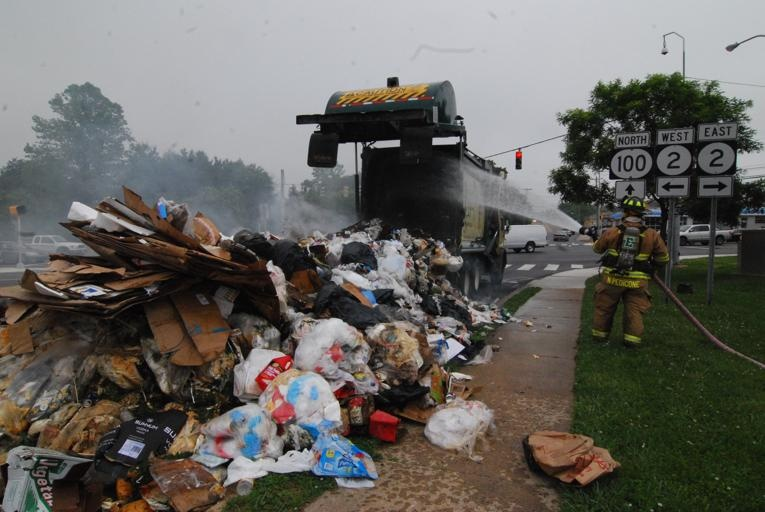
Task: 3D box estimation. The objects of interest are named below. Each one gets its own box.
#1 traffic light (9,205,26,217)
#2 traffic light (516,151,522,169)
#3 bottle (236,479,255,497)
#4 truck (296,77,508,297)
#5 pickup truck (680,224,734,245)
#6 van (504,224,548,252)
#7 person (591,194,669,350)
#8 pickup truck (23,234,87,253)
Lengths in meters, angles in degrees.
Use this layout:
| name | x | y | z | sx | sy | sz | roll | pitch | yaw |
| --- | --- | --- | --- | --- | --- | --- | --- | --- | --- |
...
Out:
| name | x | y | z | sx | sy | sz | roll | pitch | yaw |
| --- | --- | --- | --- | --- | --- | --- | --- | --- | --- |
| traffic light | -15.478 | -1.886 | 20.810 | 0.421 | 0.526 | 0.771 | -4 | -9 | -26 |
| traffic light | 5.543 | -3.873 | 19.998 | 0.192 | 0.657 | 0.290 | -4 | 3 | -7 |
| bottle | -1.140 | 1.924 | 4.062 | 0.150 | 0.106 | 0.129 | -4 | 3 | -16 |
| truck | 0.594 | -1.196 | 10.695 | 2.165 | 3.151 | 6.085 | 0 | -6 | 27 |
| pickup truck | 23.780 | -1.506 | 35.854 | 5.114 | 1.442 | 2.283 | -4 | 3 | -15 |
| van | 8.705 | -1.044 | 30.054 | 2.854 | 1.404 | 2.037 | 1 | -2 | -17 |
| person | 3.435 | 0.218 | 6.872 | 0.949 | 2.010 | 0.686 | -2 | 4 | 22 |
| pickup truck | -15.928 | -0.525 | 23.658 | 2.587 | 0.972 | 1.199 | -2 | 2 | -3 |
